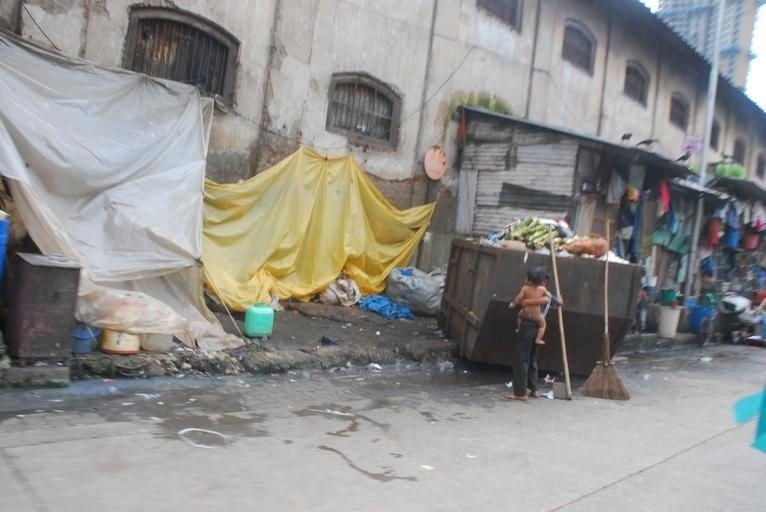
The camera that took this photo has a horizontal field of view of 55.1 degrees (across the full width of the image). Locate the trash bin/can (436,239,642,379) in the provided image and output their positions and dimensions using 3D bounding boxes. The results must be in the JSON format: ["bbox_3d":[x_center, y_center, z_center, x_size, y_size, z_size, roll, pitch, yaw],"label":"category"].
[{"bbox_3d":[3.633,0.924,12.913,2.768,2.550,4.595,8,0,-12],"label":"trash bin/can"}]

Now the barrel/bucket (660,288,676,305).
[{"bbox_3d":[7.005,1.018,18.018,0.294,0.379,0.362,3,-3,12],"label":"barrel/bucket"}]

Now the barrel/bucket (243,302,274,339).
[{"bbox_3d":[-2.046,1.038,11.896,0.486,0.523,0.390,4,3,-35],"label":"barrel/bucket"}]

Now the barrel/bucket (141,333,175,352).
[{"bbox_3d":[-3.198,1.221,10.391,0.343,0.228,0.259,4,12,-19],"label":"barrel/bucket"}]

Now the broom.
[{"bbox_3d":[3.512,1.074,11.555,0.717,2.313,0.516,3,-2,-2],"label":"broom"}]

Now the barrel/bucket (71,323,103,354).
[{"bbox_3d":[-4.041,1.103,10.090,0.401,0.369,0.393,8,3,0],"label":"barrel/bucket"}]

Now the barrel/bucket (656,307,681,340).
[{"bbox_3d":[6.913,1.598,17.822,0.481,0.782,0.489,3,-2,0],"label":"barrel/bucket"}]

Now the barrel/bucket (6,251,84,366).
[{"bbox_3d":[-4.501,0.693,9.727,0.864,1.450,0.722,-1,-4,-21],"label":"barrel/bucket"}]

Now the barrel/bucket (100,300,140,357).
[{"bbox_3d":[-3.641,1.186,10.189,0.489,0.314,0.143,4,-2,-20],"label":"barrel/bucket"}]

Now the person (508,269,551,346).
[{"bbox_3d":[2.184,0.775,11.141,0.578,1.121,0.630,1,-1,-3],"label":"person"}]
